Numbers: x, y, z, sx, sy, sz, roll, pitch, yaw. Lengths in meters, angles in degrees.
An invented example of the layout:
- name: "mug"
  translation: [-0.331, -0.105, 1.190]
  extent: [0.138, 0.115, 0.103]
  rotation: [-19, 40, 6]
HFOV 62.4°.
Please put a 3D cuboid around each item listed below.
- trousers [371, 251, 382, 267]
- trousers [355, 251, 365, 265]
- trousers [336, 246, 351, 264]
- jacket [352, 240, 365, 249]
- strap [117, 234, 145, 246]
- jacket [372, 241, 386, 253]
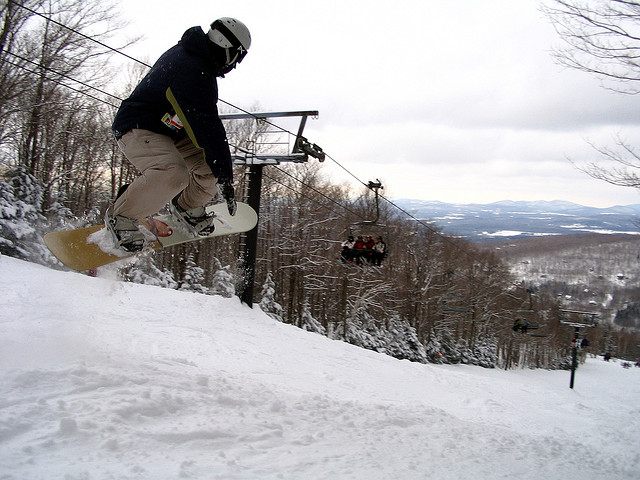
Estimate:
- name: "trousers"
  translation: [2.248, 0.741, 21.173]
  extent: [0.277, 0.686, 0.128]
  rotation: [5, 29, 6]
- name: "trousers"
  translation: [1.582, 0.700, 21.457]
  extent: [0.427, 0.510, 0.706]
  rotation: [6, -3, 6]
- name: "trousers"
  translation: [1.022, 0.666, 21.771]
  extent: [0.192, 0.877, 0.283]
  rotation: [-24, 63, -33]
- name: "jacket"
  translation: [1.538, 0.171, 21.335]
  extent: [0.452, 0.369, 0.334]
  rotation: [5, -3, 17]
- name: "strap"
  translation: [-2.466, -0.011, 6.894]
  extent: [0.249, 0.115, 0.062]
  rotation: [-15, 45, -21]
- name: "jacket"
  translation: [2.343, 0.259, 21.132]
  extent: [0.413, 0.450, 0.541]
  rotation: [5, -3, 17]
